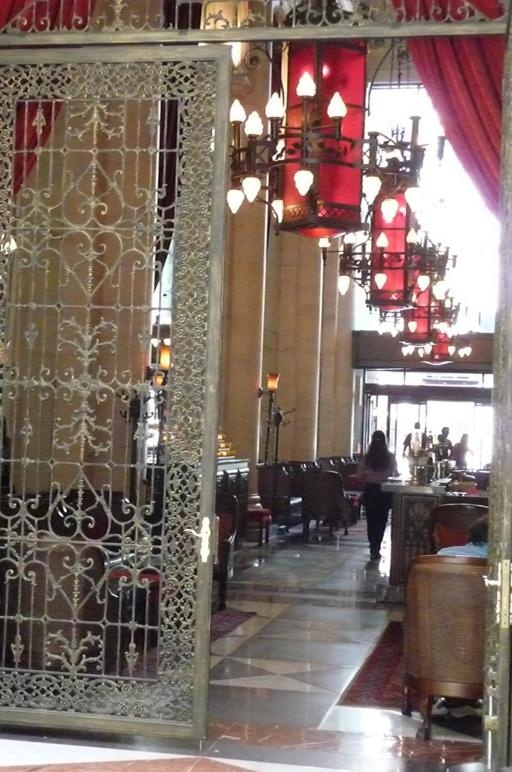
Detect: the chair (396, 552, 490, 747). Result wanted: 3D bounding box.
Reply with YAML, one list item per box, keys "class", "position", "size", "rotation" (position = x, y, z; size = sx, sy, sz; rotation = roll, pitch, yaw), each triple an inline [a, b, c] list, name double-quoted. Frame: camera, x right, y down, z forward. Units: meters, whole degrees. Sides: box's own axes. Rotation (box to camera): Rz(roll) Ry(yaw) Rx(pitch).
- class: "chair"
  position: [0.827, 1.139, 4.918]
  size: [0.362, 0.767, 0.218]
  rotation: [-1, -2, 21]
